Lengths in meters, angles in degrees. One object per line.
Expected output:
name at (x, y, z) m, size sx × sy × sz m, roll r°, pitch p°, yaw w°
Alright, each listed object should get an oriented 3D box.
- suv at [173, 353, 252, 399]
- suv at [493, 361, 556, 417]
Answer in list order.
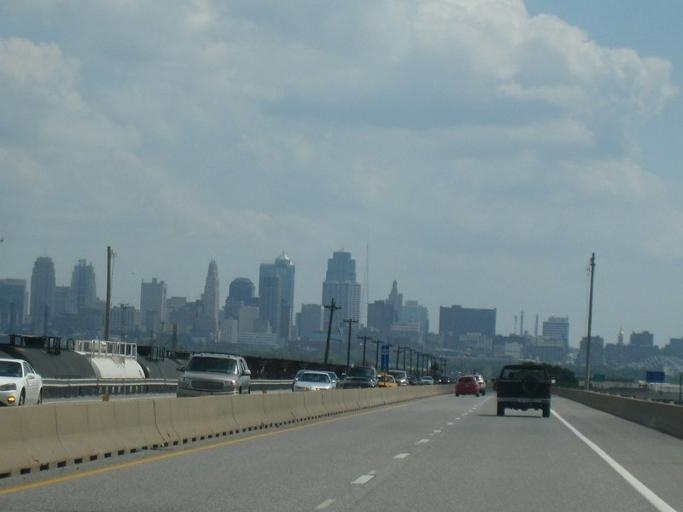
suv at (-4.664, 4.426, 37.996) m, size 1.322 × 1.242 × 2.526 m, roll 0°, pitch -12°, yaw 4°
suv at (7.502, 5.462, 41.800) m, size 2.109 × 2.247 × 2.650 m, roll 1°, pitch -8°, yaw 12°
